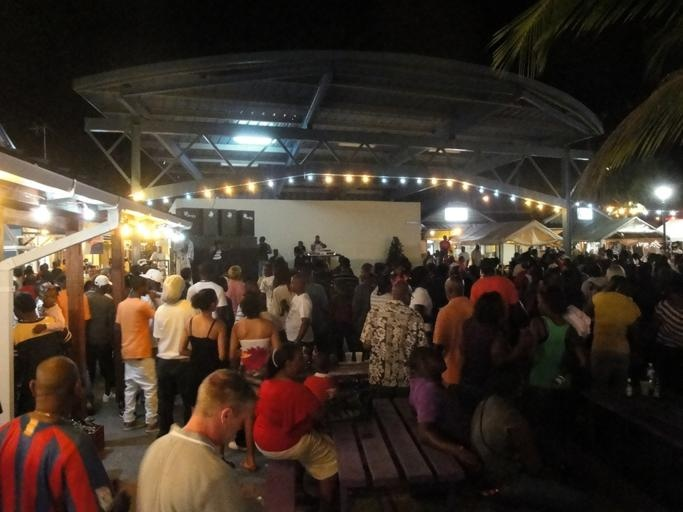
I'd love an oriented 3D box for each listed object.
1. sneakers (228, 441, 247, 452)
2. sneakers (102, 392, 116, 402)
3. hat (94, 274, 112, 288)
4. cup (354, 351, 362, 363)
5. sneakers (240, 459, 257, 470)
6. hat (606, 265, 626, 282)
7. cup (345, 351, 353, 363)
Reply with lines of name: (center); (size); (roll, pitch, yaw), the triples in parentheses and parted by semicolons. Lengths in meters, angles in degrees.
sneakers: (-1.221, 2.225, 6.616); (0.230, 0.097, 0.081); (6, 4, 32)
sneakers: (-3.394, 2.052, 8.170); (0.080, 0.101, 0.228); (2, 6, 11)
hat: (-3.486, 0.361, 8.178); (0.170, 0.131, 0.241); (6, 11, 3)
cup: (0.213, 1.252, 6.941); (0.106, 0.128, 0.110); (1, -1, 0)
sneakers: (-1.020, 2.256, 6.117); (0.084, 0.107, 0.231); (1, -4, -43)
hat: (3.687, 0.236, 7.517); (0.163, 0.213, 0.215); (5, 25, 15)
cup: (0.090, 1.273, 7.059); (0.113, 0.132, 0.116); (-1, -3, 0)
